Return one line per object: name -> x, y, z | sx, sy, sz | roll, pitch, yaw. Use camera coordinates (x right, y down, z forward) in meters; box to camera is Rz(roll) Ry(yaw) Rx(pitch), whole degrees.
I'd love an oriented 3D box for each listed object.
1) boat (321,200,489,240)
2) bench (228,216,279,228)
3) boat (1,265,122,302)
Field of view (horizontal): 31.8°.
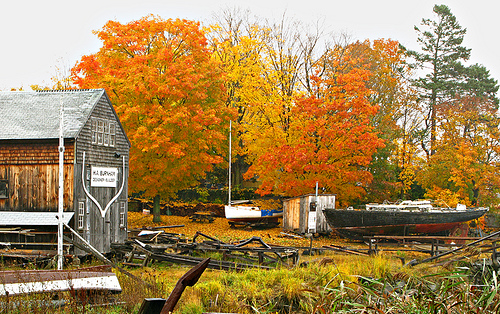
boat -> 10.651, 3.807, 59.560 | 11.293, 2.336, 3.523 | 2, -10, -7
bench -> 0.314, 4.810, 65.407 | 3.678, 0.825, 1.637 | 0, -5, -7
boat -> -10.747, 6.317, 44.953 | 7.937, 1.699, 2.025 | -2, -3, -16
